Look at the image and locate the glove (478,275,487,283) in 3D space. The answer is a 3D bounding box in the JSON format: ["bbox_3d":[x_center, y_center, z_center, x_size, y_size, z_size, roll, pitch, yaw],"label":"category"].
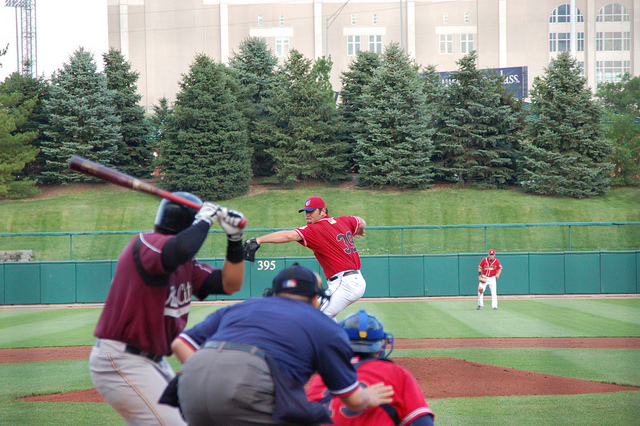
[{"bbox_3d":[10.616,4.257,64.444,0.352,0.229,0.479,29,-7,-40],"label":"glove"}]

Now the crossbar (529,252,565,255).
[{"bbox_3d":[15.460,2.712,67.088,2.309,0.211,0.389,1,1,-7],"label":"crossbar"}]
